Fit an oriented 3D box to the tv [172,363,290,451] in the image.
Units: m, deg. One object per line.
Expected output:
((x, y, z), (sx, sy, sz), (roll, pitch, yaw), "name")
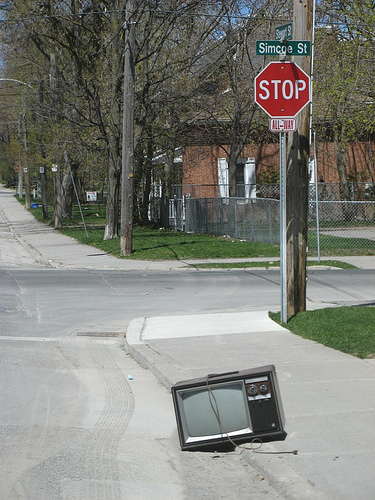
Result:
((0.352, 1.120, 4.872), (0.754, 0.487, 0.420), (-17, -15, 22), "tv")

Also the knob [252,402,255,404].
((0.449, 1.040, 4.663), (0.013, 0.012, 0.022), (-3, -5, 5), "knob")

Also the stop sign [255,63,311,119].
((1.232, -2.047, 8.835), (0.752, 0.716, 0.166), (-3, 3, -21), "stop sign")

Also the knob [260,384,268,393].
((0.516, 0.936, 4.640), (0.049, 0.056, 0.014), (-2, 2, 3), "knob")
